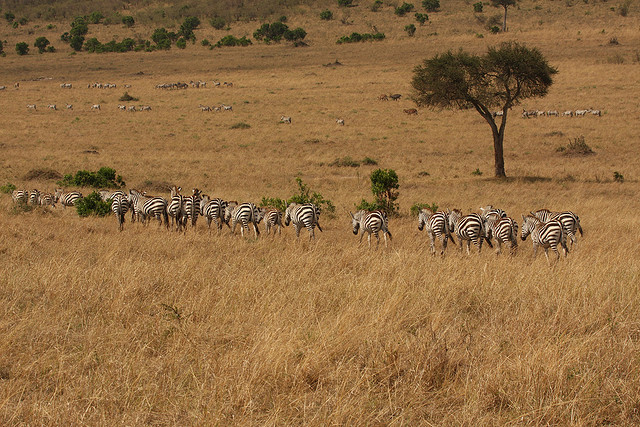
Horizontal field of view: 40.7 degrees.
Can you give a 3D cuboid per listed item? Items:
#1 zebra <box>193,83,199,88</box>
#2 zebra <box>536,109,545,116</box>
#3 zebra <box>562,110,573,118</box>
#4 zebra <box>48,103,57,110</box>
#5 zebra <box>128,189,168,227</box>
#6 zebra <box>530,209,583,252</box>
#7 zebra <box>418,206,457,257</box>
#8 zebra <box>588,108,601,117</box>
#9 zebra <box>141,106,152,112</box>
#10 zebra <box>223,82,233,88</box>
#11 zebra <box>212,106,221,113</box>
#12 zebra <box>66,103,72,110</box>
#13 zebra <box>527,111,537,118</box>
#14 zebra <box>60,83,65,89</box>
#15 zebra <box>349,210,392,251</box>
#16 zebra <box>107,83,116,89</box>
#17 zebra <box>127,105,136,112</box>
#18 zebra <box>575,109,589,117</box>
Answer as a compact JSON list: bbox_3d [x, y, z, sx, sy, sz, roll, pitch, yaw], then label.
[{"bbox_3d":[-23.391,-24.001,161.711,1.458,0.682,0.352,1,6,37],"label":"zebra"},{"bbox_3d":[34.366,-15.822,135.064,1.573,1.080,0.585,15,11,32],"label":"zebra"},{"bbox_3d":[38.185,-15.499,133.706,1.711,1.028,0.639,4,2,23],"label":"zebra"},{"bbox_3d":[-44.653,-17.733,143.502,1.381,1.026,3.517,-4,5,-17],"label":"zebra"},{"bbox_3d":[-20.555,-0.510,101.816,3.401,3.036,1.144,13,21,27],"label":"zebra"},{"bbox_3d":[25.540,3.009,97.241,2.460,6.288,8.502,-5,-2,-15],"label":"zebra"},{"bbox_3d":[13.264,1.794,99.282,2.080,5.807,7.624,-4,-1,-16],"label":"zebra"},{"bbox_3d":[42.150,-15.423,132.030,2.185,1.343,0.684,12,0,32],"label":"zebra"},{"bbox_3d":[-29.041,-17.450,143.305,1.550,0.767,1.270,-2,5,1],"label":"zebra"},{"bbox_3d":[-17.068,-24.094,160.891,2.078,1.444,0.547,6,25,-1],"label":"zebra"},{"bbox_3d":[-17.218,-17.142,142.475,1.277,0.820,2.288,-4,5,-15],"label":"zebra"},{"bbox_3d":[-41.793,-17.783,143.715,0.408,1.200,1.842,-6,19,-43],"label":"zebra"},{"bbox_3d":[32.985,-15.520,134.654,1.425,0.740,1.028,-3,5,-4],"label":"zebra"},{"bbox_3d":[-48.281,-23.795,161.153,0.976,1.060,0.318,-4,-2,-31],"label":"zebra"},{"bbox_3d":[5.785,1.721,98.072,4.099,4.337,2.014,-2,5,8],"label":"zebra"},{"bbox_3d":[-39.120,-23.853,161.511,1.751,0.981,1.743,-2,5,0],"label":"zebra"},{"bbox_3d":[-31.482,-17.552,143.713,0.800,1.239,0.458,13,2,10],"label":"zebra"},{"bbox_3d":[40.154,-15.420,132.624,2.010,0.897,1.074,-2,5,6],"label":"zebra"}]
